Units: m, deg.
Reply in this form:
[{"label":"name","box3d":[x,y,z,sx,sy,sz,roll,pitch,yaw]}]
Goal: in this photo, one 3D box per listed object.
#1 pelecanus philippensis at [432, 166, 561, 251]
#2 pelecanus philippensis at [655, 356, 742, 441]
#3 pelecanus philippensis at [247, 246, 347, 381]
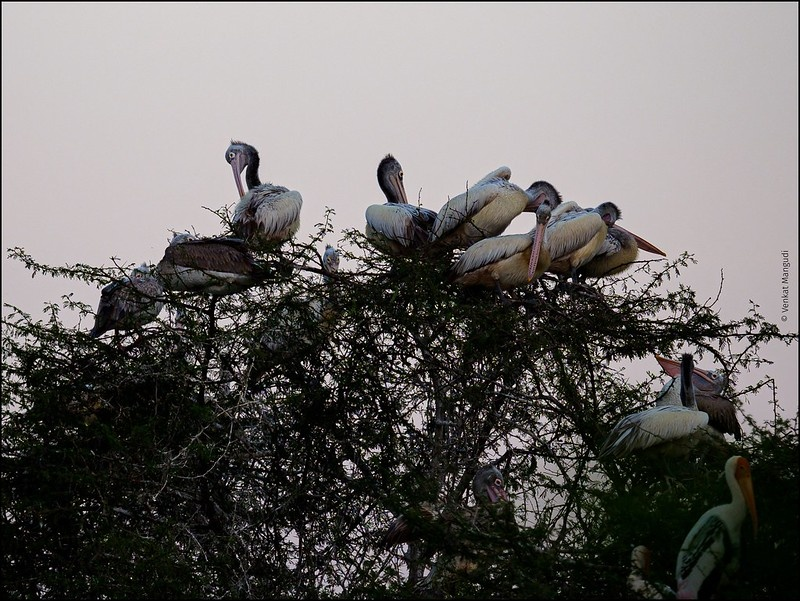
[{"label":"pelecanus philippensis","box3d":[1.001,-0.938,15.545,1.407,0.896,0.657,0,-21,21]},{"label":"pelecanus philippensis","box3d":[3.056,1.071,14.771,0.995,0.961,0.363,8,-21,-36]},{"label":"pelecanus philippensis","box3d":[-1.035,0.218,14.605,0.827,1.689,0.819,3,-50,-4]}]
